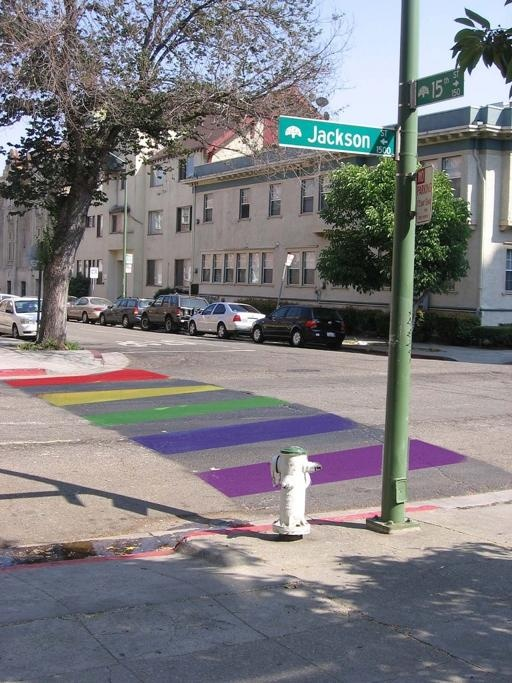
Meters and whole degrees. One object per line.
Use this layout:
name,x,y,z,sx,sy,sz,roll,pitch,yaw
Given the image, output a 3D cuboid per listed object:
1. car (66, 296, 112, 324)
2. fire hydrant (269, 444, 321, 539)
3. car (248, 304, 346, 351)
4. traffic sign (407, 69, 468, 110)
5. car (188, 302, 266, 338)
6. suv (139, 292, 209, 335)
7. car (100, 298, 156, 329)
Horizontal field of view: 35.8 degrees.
car,-9.075,-1.759,43.567,1.289,0.914,3.097,-2,7,-30
fire hydrant,0.281,1.095,5.780,0.346,0.646,0.395,1,0,0
car,1.454,-0.539,27.509,1.008,1.504,3.087,1,0,-44
traffic sign,1.319,-1.853,5.743,0.132,0.273,0.538,1,0,-27
car,-1.211,-0.892,31.538,1.359,0.882,2.861,-1,4,-29
suv,-3.539,-1.331,35.533,1.551,1.201,2.902,-1,7,-31
car,-6.129,-1.454,39.177,1.366,0.998,2.974,-2,6,-31
